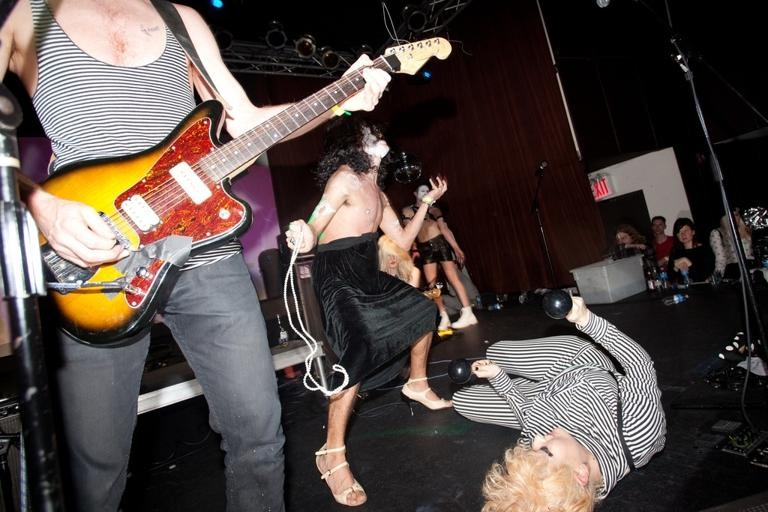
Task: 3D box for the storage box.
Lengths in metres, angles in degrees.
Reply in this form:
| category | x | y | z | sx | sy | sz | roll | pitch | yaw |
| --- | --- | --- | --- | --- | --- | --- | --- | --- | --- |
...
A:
| category | x | y | z | sx | sy | sz | roll | pitch | yaw |
| --- | --- | --- | --- | --- | --- | --- | --- | --- | --- |
| storage box | 2.927 | 0.305 | 6.063 | 0.712 | 0.465 | 0.703 | -21 | 1 | -27 |

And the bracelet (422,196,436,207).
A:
| category | x | y | z | sx | sy | sz | roll | pitch | yaw |
| --- | --- | --- | --- | --- | --- | --- | --- | --- | --- |
| bracelet | 0.325 | -0.377 | 3.171 | 0.098 | 0.069 | 0.097 | 3 | -4 | -15 |

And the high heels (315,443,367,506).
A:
| category | x | y | z | sx | sy | sz | roll | pitch | yaw |
| --- | --- | --- | --- | --- | --- | --- | --- | --- | --- |
| high heels | -0.244 | 1.173 | 2.530 | 0.162 | 0.167 | 0.387 | -2 | 10 | -27 |

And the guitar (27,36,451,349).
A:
| category | x | y | z | sx | sy | sz | roll | pitch | yaw |
| --- | --- | --- | --- | --- | --- | --- | --- | --- | --- |
| guitar | -0.562 | -0.413 | 1.878 | 1.880 | 0.675 | 0.229 | -34 | -13 | 2 |

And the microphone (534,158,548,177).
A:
| category | x | y | z | sx | sy | sz | roll | pitch | yaw |
| --- | --- | --- | --- | --- | --- | --- | --- | --- | --- |
| microphone | 2.402 | -1.305 | 6.887 | 0.201 | 0.261 | 0.347 | -4 | 6 | 24 |

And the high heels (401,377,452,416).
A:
| category | x | y | z | sx | sy | sz | roll | pitch | yaw |
| --- | --- | --- | --- | --- | --- | --- | --- | --- | --- |
| high heels | 0.312 | 0.994 | 3.330 | 0.459 | 0.231 | 0.162 | 15 | -4 | 4 |
